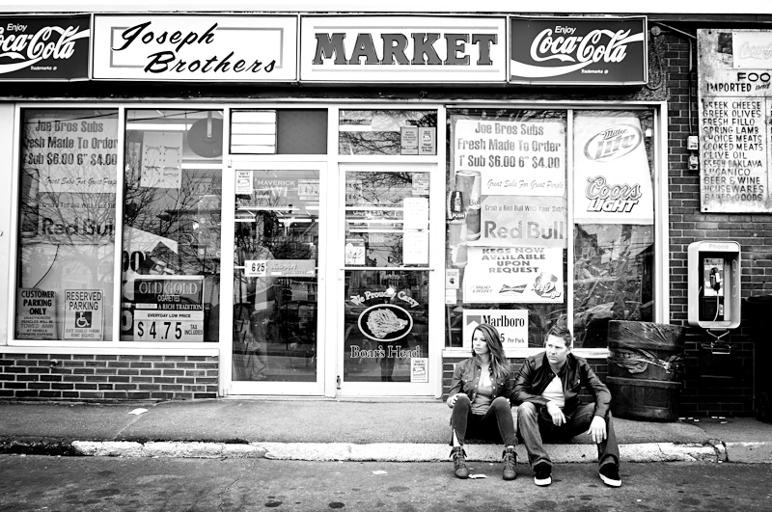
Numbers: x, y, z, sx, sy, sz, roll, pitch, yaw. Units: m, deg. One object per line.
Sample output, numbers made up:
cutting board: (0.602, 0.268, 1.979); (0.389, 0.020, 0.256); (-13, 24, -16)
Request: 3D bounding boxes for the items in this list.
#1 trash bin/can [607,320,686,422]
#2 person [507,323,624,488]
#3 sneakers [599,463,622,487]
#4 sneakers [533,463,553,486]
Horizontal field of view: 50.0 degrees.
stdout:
trash bin/can: (3.615, 1.620, 11.622); (1.264, 1.324, 1.184); (2, -4, 2)
person: (2.267, 1.874, 10.520); (1.295, 1.948, 0.826); (-1, -3, 7)
sneakers: (2.777, 2.693, 10.256); (0.286, 0.284, 0.244); (-1, -3, 12)
sneakers: (1.924, 2.669, 10.219); (0.232, 0.291, 0.221); (-1, -3, 9)
